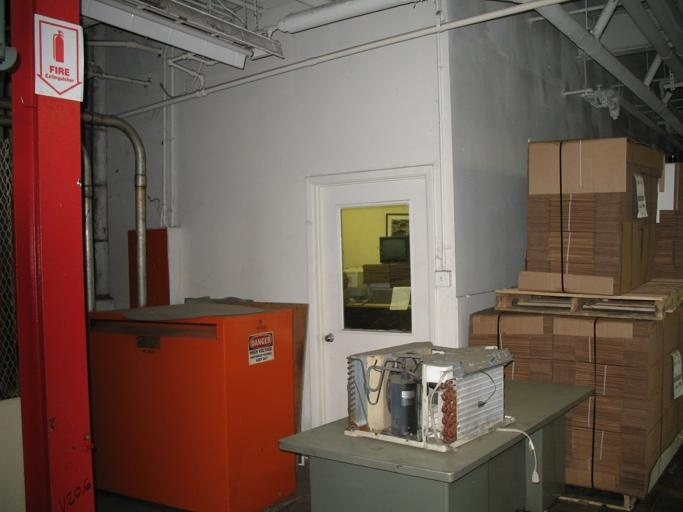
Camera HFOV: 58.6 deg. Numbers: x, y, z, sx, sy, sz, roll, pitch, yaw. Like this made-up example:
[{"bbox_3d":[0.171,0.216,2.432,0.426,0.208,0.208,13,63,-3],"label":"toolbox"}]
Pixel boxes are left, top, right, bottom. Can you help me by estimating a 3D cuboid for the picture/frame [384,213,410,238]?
[{"bbox_3d":[0.509,-0.278,5.435,0.192,0.214,0.019,4,5,32],"label":"picture/frame"}]
